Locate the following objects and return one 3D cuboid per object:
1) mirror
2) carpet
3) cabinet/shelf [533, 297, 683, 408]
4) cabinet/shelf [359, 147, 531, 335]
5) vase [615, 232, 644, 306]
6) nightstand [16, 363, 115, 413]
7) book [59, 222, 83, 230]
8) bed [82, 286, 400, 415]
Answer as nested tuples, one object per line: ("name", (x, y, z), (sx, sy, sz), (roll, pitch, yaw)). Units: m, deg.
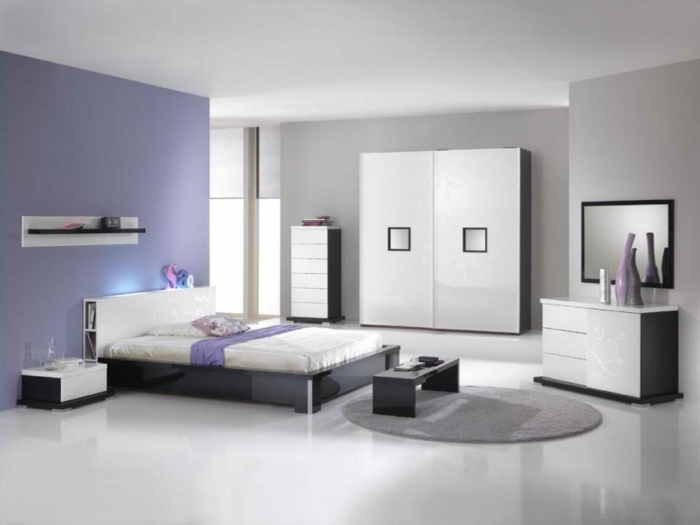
("mirror", (2.855, -0.191, 5.713), (0.044, 0.908, 0.961), (1, -1, -37))
("carpet", (1.106, 1.307, 4.800), (2.181, 0.067, 1.341), (-1, 3, -13))
("cabinet/shelf", (2.608, 0.868, 5.746), (0.669, 0.905, 1.287), (1, -2, -25))
("cabinet/shelf", (1.401, -0.286, 7.755), (2.580, 2.749, 0.871), (-1, -2, 22))
("vase", (2.696, 0.063, 5.439), (0.235, 0.685, 0.382), (1, 3, 28))
("nightstand", (-2.745, 1.192, 5.435), (0.577, 0.330, 0.711), (1, -2, 19))
("book", (-2.729, -0.358, 5.543), (0.079, 0.090, 0.252), (1, 3, 32))
("bed", (-1.179, 0.911, 5.653), (1.955, 0.789, 1.516), (1, 2, 21))
